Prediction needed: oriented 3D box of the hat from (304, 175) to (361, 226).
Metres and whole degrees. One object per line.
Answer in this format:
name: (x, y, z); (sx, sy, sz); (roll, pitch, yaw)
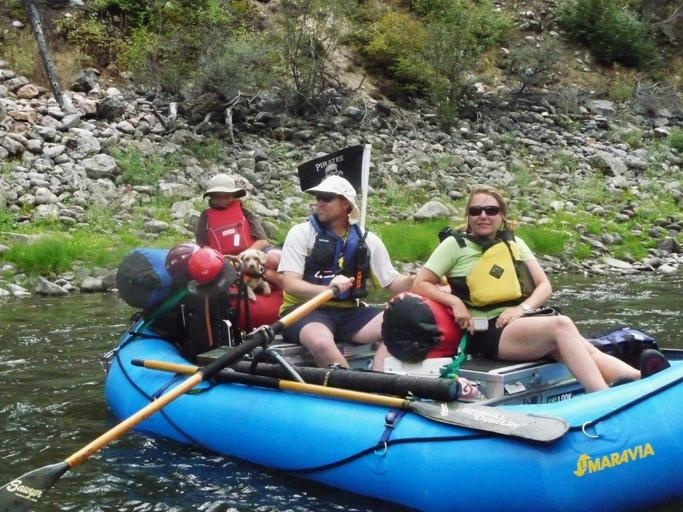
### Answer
hat: (-0.002, -0.558, 6.681); (0.483, 0.251, 0.359); (28, -23, -34)

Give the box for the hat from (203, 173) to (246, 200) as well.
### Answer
hat: (-1.261, -0.742, 7.913); (0.402, 0.197, 0.403); (0, 0, -10)

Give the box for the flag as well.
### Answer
flag: (-0.102, -0.703, 7.520); (0.756, 1.020, 0.074); (1, -30, 7)

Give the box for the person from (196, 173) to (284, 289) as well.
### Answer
person: (-1.033, -0.285, 7.637); (1.044, 1.057, 0.971); (-4, 16, 1)

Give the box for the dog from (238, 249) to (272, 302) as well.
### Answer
dog: (-0.917, 0.121, 7.369); (0.334, 0.448, 0.965); (-7, 9, -13)

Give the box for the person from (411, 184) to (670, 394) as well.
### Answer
person: (1.618, 0.302, 5.748); (0.967, 1.386, 2.300); (-6, 16, -27)

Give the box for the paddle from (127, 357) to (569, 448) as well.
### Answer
paddle: (0.443, 1.111, 5.465); (2.382, 0.233, 0.218); (2, 8, 24)
